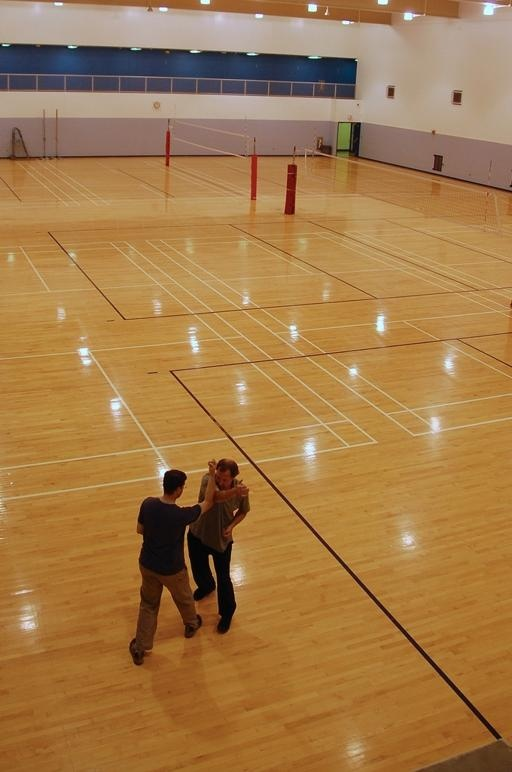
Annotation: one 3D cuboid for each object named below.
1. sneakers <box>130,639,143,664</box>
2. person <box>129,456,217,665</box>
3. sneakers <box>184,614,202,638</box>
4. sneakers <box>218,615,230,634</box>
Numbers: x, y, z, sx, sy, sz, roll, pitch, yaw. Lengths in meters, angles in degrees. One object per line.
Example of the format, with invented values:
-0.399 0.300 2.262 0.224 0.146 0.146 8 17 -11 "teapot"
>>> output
-0.597 1.340 2.917 0.050 0.052 0.128 0 33 -20 "sneakers"
-0.392 0.812 2.758 0.405 0.915 0.260 -4 18 -23 "person"
-0.334 1.301 3.141 0.049 0.061 0.141 4 24 12 "sneakers"
-0.173 1.289 3.163 0.045 0.056 0.138 3 3 0 "sneakers"
